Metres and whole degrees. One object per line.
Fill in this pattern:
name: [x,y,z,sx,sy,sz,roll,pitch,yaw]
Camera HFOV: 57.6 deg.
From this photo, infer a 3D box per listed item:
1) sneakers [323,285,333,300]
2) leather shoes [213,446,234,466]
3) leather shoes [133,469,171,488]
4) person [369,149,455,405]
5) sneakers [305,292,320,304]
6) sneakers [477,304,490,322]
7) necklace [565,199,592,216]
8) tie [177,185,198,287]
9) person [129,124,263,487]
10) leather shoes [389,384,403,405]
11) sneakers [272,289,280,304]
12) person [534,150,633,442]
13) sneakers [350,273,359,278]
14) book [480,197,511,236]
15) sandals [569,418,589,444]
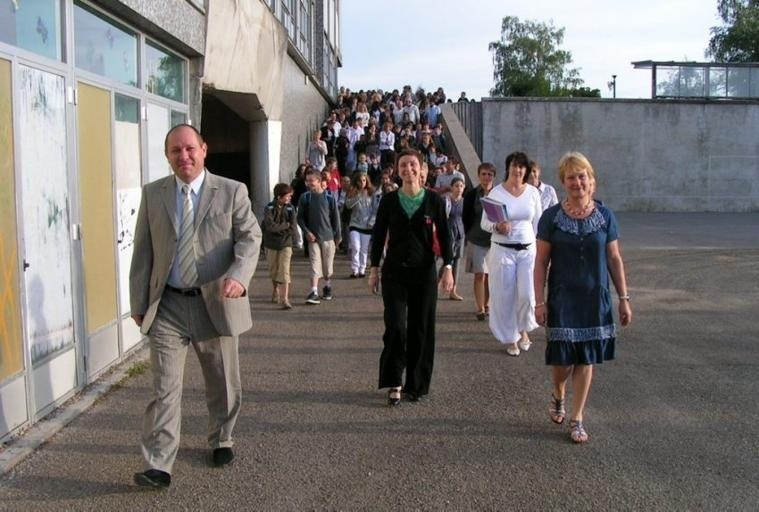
sneakers: [-0.884,0.630,11.752,0.174,0.237,0.560,-1,-3,-1]
leather shoes: [-1.372,1.729,6.102,0.109,0.198,0.190,7,13,20]
leather shoes: [-1.873,1.798,5.640,0.272,0.132,0.137,10,-9,9]
person: [0.351,0.207,7.211,0.862,2.550,0.776,-2,12,-6]
sneakers: [-1.090,0.673,11.311,0.241,0.207,0.369,-1,14,-2]
sneakers: [1.541,0.835,10.060,0.174,0.242,0.564,-2,-9,6]
necklace: [1.887,-0.415,6.448,0.154,0.063,0.204,-4,29,6]
tie: [-1.667,-0.165,5.938,0.151,0.834,0.258,-2,12,-7]
person: [-1.589,0.373,5.891,1.088,2.879,0.938,-4,13,-16]
leather shoes: [0.170,1.429,7.103,0.158,0.193,0.489,1,-2,2]
sneakers: [-1.723,0.619,11.335,0.138,0.267,0.326,-2,13,-9]
person: [1.915,0.360,6.458,0.873,2.557,0.744,2,12,12]
sneakers: [-0.479,0.366,13.619,0.172,0.128,0.145,-2,13,-8]
book: [1.448,-0.499,8.410,0.094,0.410,0.387,-28,39,-21]
sandals: [1.880,1.622,6.403,0.104,0.115,0.270,-2,-3,11]
